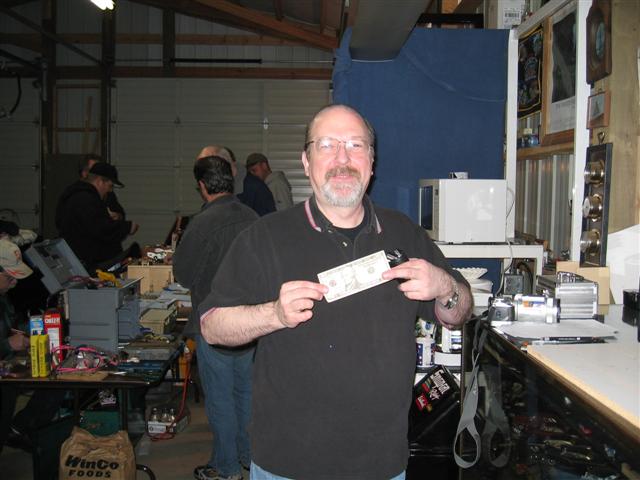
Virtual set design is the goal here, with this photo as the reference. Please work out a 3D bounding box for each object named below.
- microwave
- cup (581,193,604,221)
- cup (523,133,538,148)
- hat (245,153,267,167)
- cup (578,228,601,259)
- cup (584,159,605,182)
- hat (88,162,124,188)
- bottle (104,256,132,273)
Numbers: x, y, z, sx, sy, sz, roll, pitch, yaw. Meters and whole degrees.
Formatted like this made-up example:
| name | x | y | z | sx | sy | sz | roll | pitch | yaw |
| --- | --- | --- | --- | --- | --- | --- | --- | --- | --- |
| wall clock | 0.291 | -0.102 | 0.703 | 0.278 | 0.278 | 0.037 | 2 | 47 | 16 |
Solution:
| name | x | y | z | sx | sy | sz | roll | pitch | yaw |
| --- | --- | --- | --- | --- | --- | --- | --- | --- | --- |
| microwave | 0.946 | -0.170 | 3.601 | 0.412 | 0.444 | 0.607 | 0 | 0 | -3 |
| cup | 1.458 | -0.172 | 2.889 | 0.095 | 0.185 | 0.180 | -1 | 4 | 4 |
| cup | 1.502 | -0.700 | 3.866 | 0.084 | 0.097 | 0.087 | 1 | 4 | 0 |
| hat | -0.765 | -0.950 | 6.443 | 0.213 | 0.120 | 0.162 | 7 | 14 | 18 |
| cup | 1.452 | 0.023 | 2.923 | 0.063 | 0.150 | 0.111 | -1 | 3 | -3 |
| cup | 1.470 | -0.363 | 2.897 | 0.051 | 0.100 | 0.097 | -2 | 33 | -2 |
| hat | -2.139 | -0.662 | 5.535 | 0.347 | 0.200 | 0.245 | 17 | 5 | -37 |
| bottle | -1.996 | 0.233 | 5.377 | 0.182 | 0.076 | 0.246 | 5 | 24 | 39 |
